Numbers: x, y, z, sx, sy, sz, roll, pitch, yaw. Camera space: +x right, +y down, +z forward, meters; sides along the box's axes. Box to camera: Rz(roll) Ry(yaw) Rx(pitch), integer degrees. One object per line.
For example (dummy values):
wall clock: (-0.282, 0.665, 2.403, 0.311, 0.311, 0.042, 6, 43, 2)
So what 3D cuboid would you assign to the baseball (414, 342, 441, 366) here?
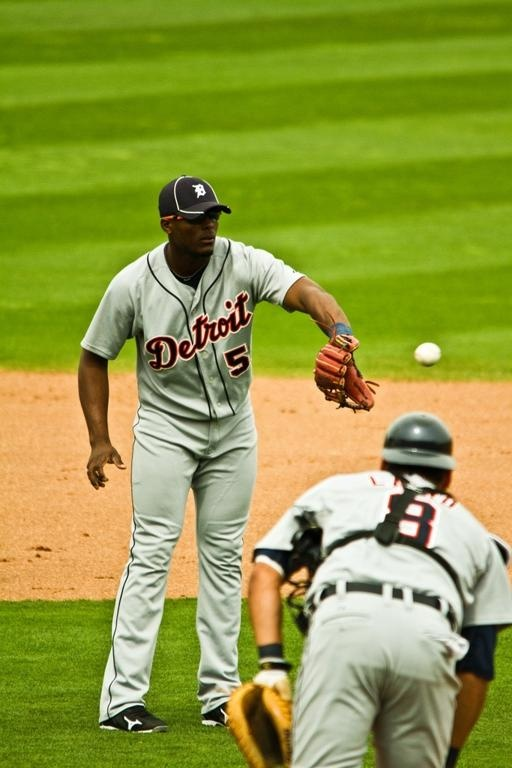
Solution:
baseball: (0.850, -0.147, 5.937, 0.138, 0.126, 0.170, -4, 4, -41)

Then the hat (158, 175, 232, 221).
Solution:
hat: (-0.230, -0.719, 4.610, 0.264, 0.176, 0.282, 0, 7, -3)

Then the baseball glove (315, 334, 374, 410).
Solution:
baseball glove: (0.312, -0.035, 4.245, 0.203, 0.284, 0.244, 1, 8, 3)

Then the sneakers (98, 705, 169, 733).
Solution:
sneakers: (-0.437, 1.241, 4.474, 0.255, 0.089, 0.095, -2, 2, 11)
